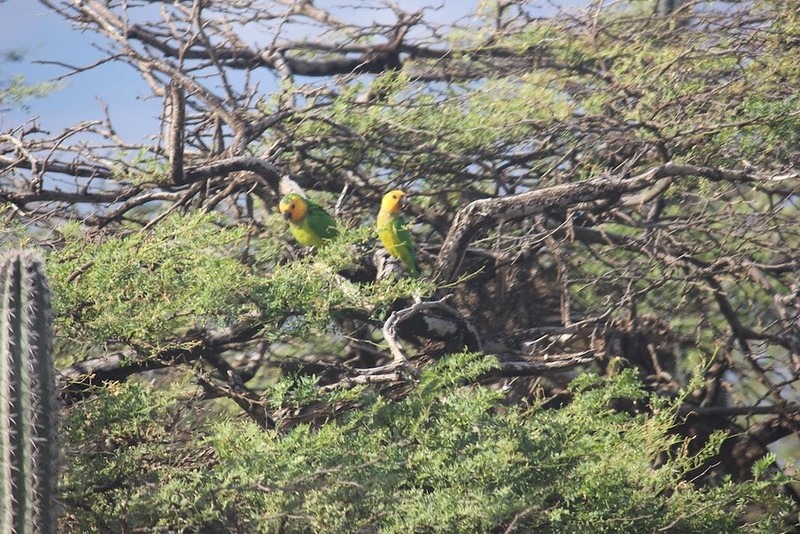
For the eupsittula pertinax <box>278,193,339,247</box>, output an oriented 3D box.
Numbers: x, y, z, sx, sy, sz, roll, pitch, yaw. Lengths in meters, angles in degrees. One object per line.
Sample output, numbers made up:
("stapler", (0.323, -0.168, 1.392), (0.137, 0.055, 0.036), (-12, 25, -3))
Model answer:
("eupsittula pertinax", (-0.548, -0.304, 12.353), (0.305, 0.352, 0.232), (-15, -12, 7))
